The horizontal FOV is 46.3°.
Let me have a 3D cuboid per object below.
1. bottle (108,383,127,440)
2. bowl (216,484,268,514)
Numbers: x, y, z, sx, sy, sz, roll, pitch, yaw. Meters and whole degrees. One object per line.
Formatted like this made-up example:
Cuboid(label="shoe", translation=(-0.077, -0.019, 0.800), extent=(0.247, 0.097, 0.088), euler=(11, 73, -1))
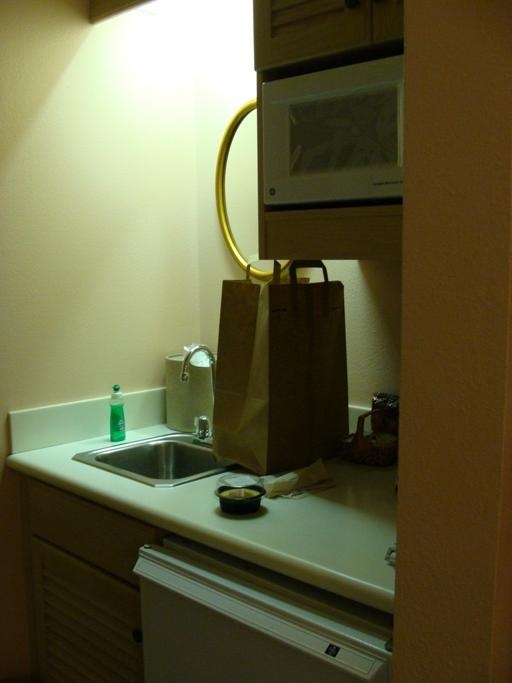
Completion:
Cuboid(label="bottle", translation=(-0.441, 0.217, 1.887), extent=(0.051, 0.169, 0.164), euler=(-2, 4, -13))
Cuboid(label="bowl", translation=(-0.032, 0.324, 1.227), extent=(0.097, 0.043, 0.096), euler=(-2, 4, 0))
